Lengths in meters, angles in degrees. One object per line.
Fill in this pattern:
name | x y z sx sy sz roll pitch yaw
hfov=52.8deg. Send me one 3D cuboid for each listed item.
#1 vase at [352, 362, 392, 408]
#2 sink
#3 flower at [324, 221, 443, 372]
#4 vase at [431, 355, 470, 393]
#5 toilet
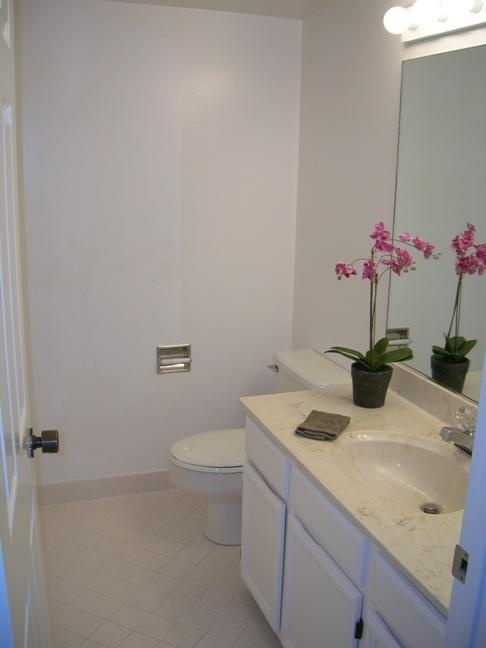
vase | 0.433 0.214 1.667 0.118 0.137 0.143 0 7 -2
sink | 0.432 0.399 1.353 0.345 0.115 0.297 2 12 5
flower | 0.600 -0.122 1.849 0.454 0.668 0.407 -3 2 -31
vase | 0.668 0.147 1.565 0.081 0.110 0.086 -12 21 -32
toilet | 0.042 0.515 2.395 0.807 0.995 0.637 -1 13 -20
